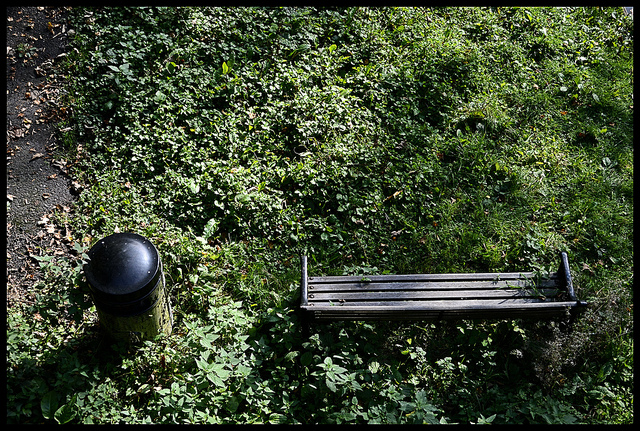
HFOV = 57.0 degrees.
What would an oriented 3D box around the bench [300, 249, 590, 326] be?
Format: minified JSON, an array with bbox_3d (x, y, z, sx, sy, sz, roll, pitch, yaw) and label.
[{"bbox_3d":[1.360,1.055,6.925,3.146,0.768,0.736,-3,18,7],"label":"bench"}]
